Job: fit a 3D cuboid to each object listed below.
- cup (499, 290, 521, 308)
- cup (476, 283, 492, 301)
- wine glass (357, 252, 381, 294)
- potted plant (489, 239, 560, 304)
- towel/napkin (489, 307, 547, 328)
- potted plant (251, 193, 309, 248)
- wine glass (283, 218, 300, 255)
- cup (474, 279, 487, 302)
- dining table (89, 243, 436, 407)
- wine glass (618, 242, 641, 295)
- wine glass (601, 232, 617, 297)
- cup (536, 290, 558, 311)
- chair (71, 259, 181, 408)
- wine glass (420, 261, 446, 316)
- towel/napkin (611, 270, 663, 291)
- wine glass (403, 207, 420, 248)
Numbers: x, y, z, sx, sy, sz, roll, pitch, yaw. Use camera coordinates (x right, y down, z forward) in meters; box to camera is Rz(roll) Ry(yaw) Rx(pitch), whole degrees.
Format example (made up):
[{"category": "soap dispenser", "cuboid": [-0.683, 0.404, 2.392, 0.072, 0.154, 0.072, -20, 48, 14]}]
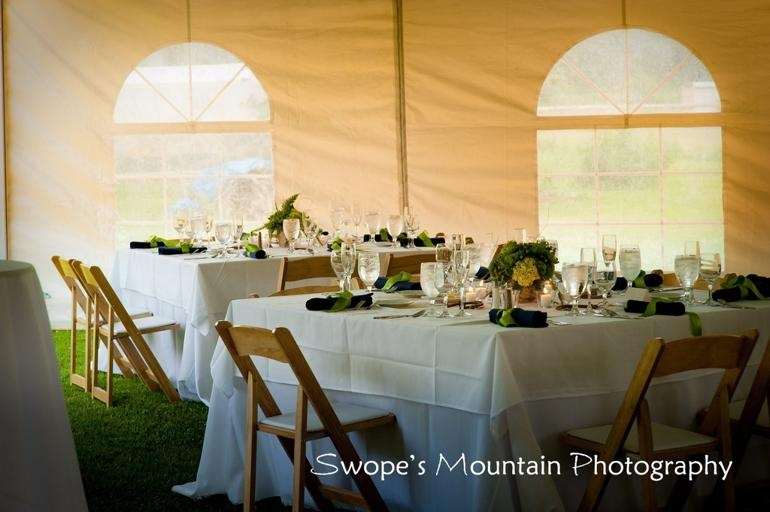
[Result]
[{"category": "cup", "cuboid": [0.558, 0.187, 2.736, 0.081, 0.091, 0.077, 0, 2, 0]}, {"category": "cup", "cuboid": [0.498, 0.180, 3.022, 0.083, 0.100, 0.086, 1, -4, 0]}, {"category": "wine glass", "cuboid": [-0.077, 0.097, 3.039, 0.114, 0.272, 0.109, -2, 18, -8]}, {"category": "potted plant", "cuboid": [0.681, 0.080, 2.931, 0.310, 0.303, 0.298, -2, -5, 9]}, {"category": "towel/napkin", "cuboid": [0.529, 0.244, 2.426, 0.232, 0.078, 0.144, -5, 11, 16]}, {"category": "potted plant", "cuboid": [-0.977, -0.344, 6.060, 0.616, 0.483, 0.647, -4, 1, -35]}, {"category": "wine glass", "cuboid": [-0.814, -0.188, 5.353, 0.154, 0.313, 0.155, 0, 19, -9]}, {"category": "cup", "cuboid": [0.452, 0.173, 2.962, 0.076, 0.137, 0.078, 0, -3, 0]}, {"category": "dining table", "cuboid": [-1.517, 0.358, 5.032, 1.696, 0.866, 1.463, -4, 4, -43]}, {"category": "wine glass", "cuboid": [1.215, 0.056, 3.004, 0.092, 0.240, 0.272, -3, 11, 21]}, {"category": "wine glass", "cuboid": [1.103, 0.030, 2.980, 0.089, 0.261, 0.090, 2, 26, 19]}, {"category": "cup", "cuboid": [0.765, 0.205, 2.857, 0.081, 0.092, 0.095, -1, -6, 10]}, {"category": "chair", "cuboid": [-2.045, 0.574, 4.797, 0.777, 1.028, 0.791, 0, 8, -40]}, {"category": "wine glass", "cuboid": [0.220, 0.136, 2.702, 0.118, 0.196, 0.121, 0, 1, 27]}, {"category": "towel/napkin", "cuboid": [1.384, 0.139, 3.249, 0.162, 0.071, 0.171, -4, 3, -18]}, {"category": "wine glass", "cuboid": [0.280, -0.287, 6.162, 0.135, 0.463, 0.129, 6, 17, 14]}]
